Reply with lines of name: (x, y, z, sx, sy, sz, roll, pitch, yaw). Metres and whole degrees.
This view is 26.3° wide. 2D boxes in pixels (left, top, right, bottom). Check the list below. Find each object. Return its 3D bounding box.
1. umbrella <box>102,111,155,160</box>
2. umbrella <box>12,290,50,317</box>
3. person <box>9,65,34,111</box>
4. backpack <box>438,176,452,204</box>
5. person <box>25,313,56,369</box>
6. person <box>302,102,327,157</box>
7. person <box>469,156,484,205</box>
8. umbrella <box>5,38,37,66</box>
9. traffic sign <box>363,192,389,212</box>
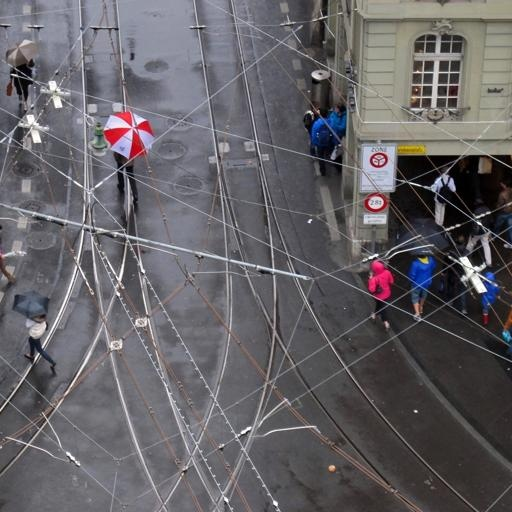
umbrella: (-3.357, -3.164, 28.625, 1.160, 1.208, 0.558, 8, 9, 12)
umbrella: (-5.223, 1.148, 25.324, 0.768, 0.598, 0.579, 4, 9, -14)
person: (-7.100, -5.174, 33.009, 0.667, 1.451, 2.103, 3, 9, -13)
backpack: (4.953, -1.711, 28.886, 0.374, 0.658, 0.249, 9, 9, 21)
person: (-5.091, 1.916, 25.669, 0.833, 1.539, 0.346, 21, 34, 19)
person: (1.727, -3.694, 32.275, 0.604, 0.528, 1.726, -2, -32, 5)
person: (6.122, -2.110, 30.417, 0.411, 1.370, 1.634, 7, 9, 10)
umbrella: (-6.895, -5.963, 32.214, 0.873, 0.776, 0.580, 1, 10, -30)
traffic sign: (3.080, -1.435, 28.277, 0.487, 0.501, 0.067, -4, 36, -7)
